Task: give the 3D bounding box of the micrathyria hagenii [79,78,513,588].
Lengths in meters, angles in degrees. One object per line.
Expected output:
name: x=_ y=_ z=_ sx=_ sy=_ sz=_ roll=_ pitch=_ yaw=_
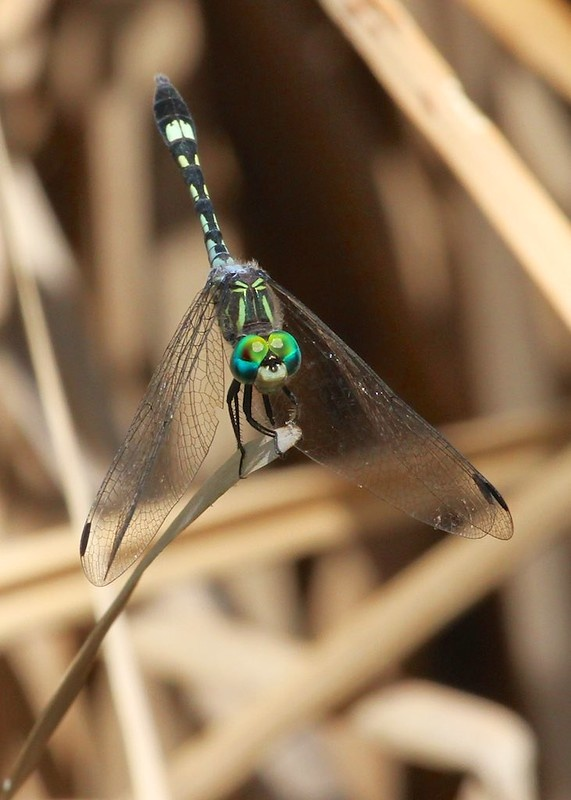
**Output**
micrathyria hagenii: x=-0.004 y=-0.081 z=0.699 sx=0.312 sy=0.230 sz=0.412 roll=-2 pitch=42 yaw=0
